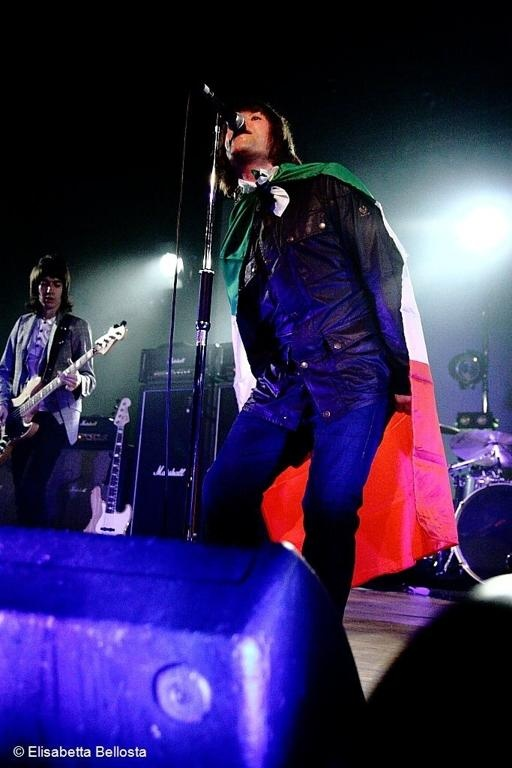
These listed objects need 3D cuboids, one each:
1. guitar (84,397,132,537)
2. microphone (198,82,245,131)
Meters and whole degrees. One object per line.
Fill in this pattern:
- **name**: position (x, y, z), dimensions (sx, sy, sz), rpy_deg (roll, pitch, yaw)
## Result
- **guitar**: position (-0.915, 0.610, 3.924), dimensions (0.344, 1.154, 0.104), rpy_deg (10, 29, -5)
- **microphone**: position (-0.089, -0.683, 1.623), dimensions (0.051, 0.050, 0.173), rpy_deg (0, -18, 27)
